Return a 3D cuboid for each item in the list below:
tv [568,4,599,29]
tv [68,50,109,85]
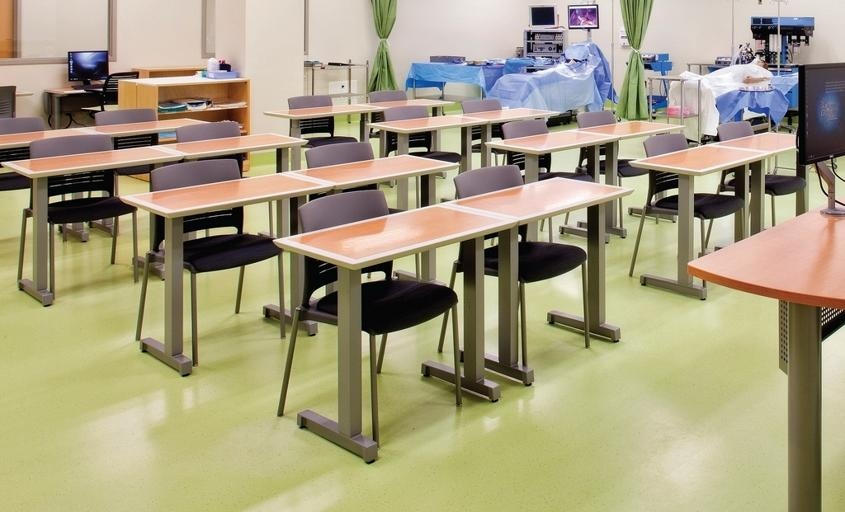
[{"bbox_3d":[3.460,-5.184,12.803,0.813,0.559,0.101,6,20,30],"label":"tv"},{"bbox_3d":[-5.558,-3.196,10.103,0.703,0.566,0.219,-1,2,3],"label":"tv"}]
